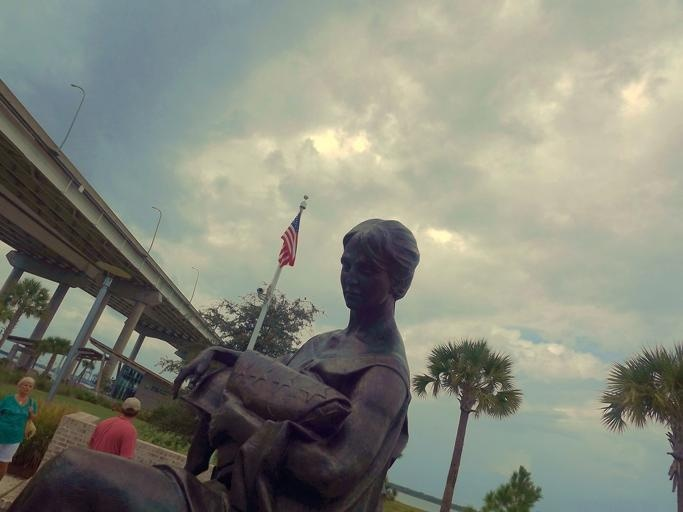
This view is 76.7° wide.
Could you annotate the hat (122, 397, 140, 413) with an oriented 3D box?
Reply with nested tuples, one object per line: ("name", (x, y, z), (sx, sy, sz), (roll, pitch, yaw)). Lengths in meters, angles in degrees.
("hat", (-2.587, 1.817, 5.344), (0.171, 0.142, 0.260), (3, -6, -17))
